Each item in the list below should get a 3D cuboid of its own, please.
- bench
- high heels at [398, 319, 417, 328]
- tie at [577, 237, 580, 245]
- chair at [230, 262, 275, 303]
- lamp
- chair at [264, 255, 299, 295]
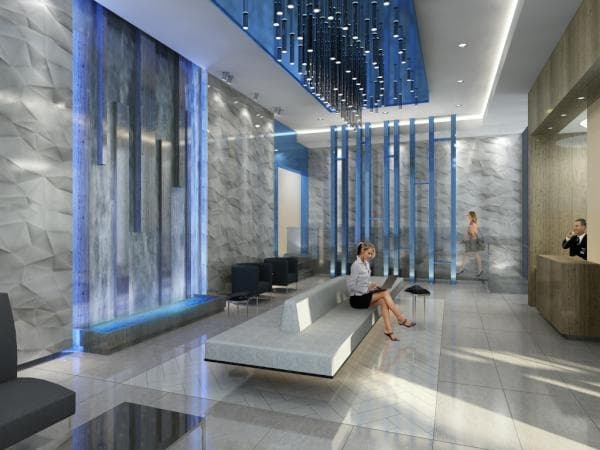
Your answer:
[{"bbox_3d":[0.001,1.282,5.727,1.645,0.646,2.216,3,7,22],"label":"bench"},{"bbox_3d":[1.747,1.660,6.875,0.186,0.124,0.326,-6,-2,-44],"label":"high heels"},{"bbox_3d":[4.988,0.278,7.428,0.033,0.121,0.116,-5,4,32],"label":"tie"},{"bbox_3d":[-1.032,1.143,8.800,0.670,0.662,0.876,0,0,16],"label":"chair"},{"bbox_3d":[-1.144,-2.968,9.667,0.400,0.609,2.132,10,-11,39],"label":"lamp"},{"bbox_3d":[-0.478,1.189,9.935,0.676,0.813,0.880,-1,-2,16],"label":"chair"}]
